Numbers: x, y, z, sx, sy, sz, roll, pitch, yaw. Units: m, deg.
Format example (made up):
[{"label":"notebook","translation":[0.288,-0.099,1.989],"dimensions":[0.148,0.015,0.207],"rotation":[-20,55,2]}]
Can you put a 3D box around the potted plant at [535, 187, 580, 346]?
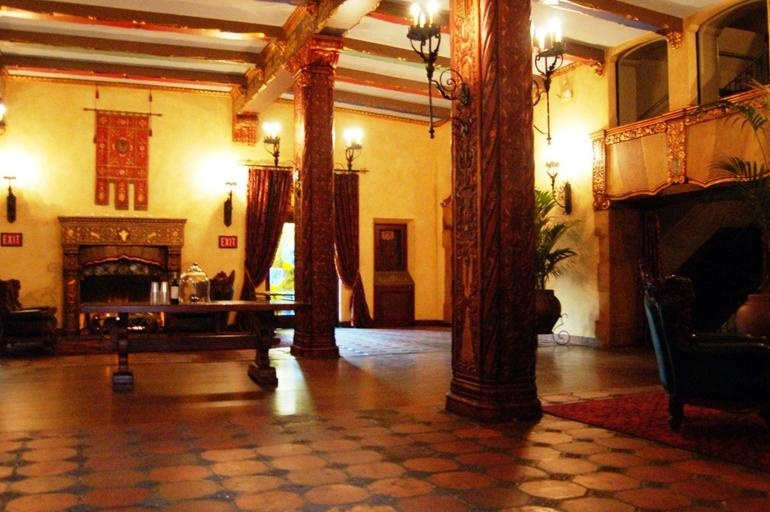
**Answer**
[{"label":"potted plant","translation":[3.212,0.142,11.294],"dimensions":[0.699,3.027,1.365],"rotation":[-2,-2,23]}]
